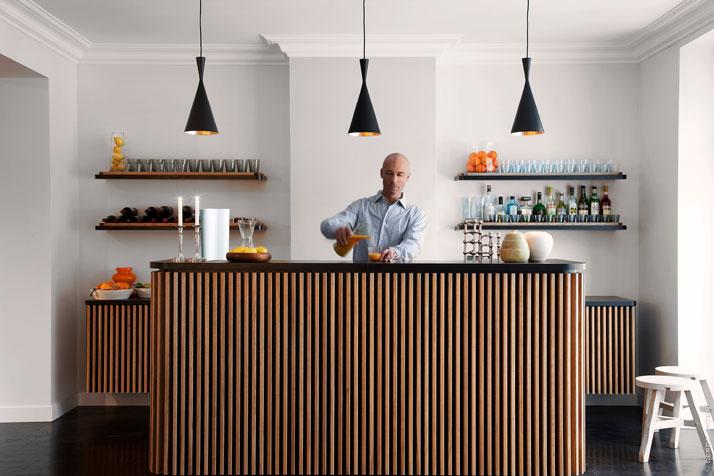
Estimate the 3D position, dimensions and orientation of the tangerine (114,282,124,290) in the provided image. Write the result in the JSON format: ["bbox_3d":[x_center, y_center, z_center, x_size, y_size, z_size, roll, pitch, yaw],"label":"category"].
[{"bbox_3d":[-2.722,0.550,8.492,0.115,0.063,0.091,-8,13,-15],"label":"tangerine"}]

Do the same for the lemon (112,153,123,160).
[{"bbox_3d":[-2.802,-0.963,8.670,0.125,0.065,0.081,-11,14,-27],"label":"lemon"}]

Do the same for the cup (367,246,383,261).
[{"bbox_3d":[0.154,0.144,6.951,0.107,0.102,0.126,-1,-7,4],"label":"cup"}]

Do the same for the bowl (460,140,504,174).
[{"bbox_3d":[1.454,-0.928,8.670,0.339,0.389,0.342,1,-2,0],"label":"bowl"}]

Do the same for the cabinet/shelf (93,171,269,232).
[{"bbox_3d":[-2.116,-0.415,8.688,1.937,0.875,0.570,-4,12,6],"label":"cabinet/shelf"}]

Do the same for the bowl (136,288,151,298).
[{"bbox_3d":[-2.469,0.636,8.541,0.147,0.073,0.155,0,-4,0],"label":"bowl"}]

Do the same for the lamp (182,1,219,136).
[{"bbox_3d":[-1.722,-1.770,7.864,0.325,1.440,1.248,-7,12,-12],"label":"lamp"}]

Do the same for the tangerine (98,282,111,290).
[{"bbox_3d":[-2.869,0.539,8.454,0.089,0.066,0.111,6,5,24],"label":"tangerine"}]

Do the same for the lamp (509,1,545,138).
[{"bbox_3d":[1.759,-1.755,7.801,0.290,1.452,1.283,-1,12,13],"label":"lamp"}]

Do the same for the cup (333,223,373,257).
[{"bbox_3d":[-0.025,0.020,7.041,0.391,0.235,0.394,-37,-5,-4],"label":"cup"}]

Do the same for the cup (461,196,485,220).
[{"bbox_3d":[1.345,-0.347,8.637,0.290,0.306,0.127,0,2,18],"label":"cup"}]

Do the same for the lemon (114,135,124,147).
[{"bbox_3d":[-2.793,-1.131,8.692,0.118,0.130,0.234,-8,13,-18],"label":"lemon"}]

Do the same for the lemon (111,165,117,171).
[{"bbox_3d":[-2.831,-0.809,8.630,0.050,0.051,0.052,-4,3,-25],"label":"lemon"}]

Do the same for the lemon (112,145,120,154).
[{"bbox_3d":[-2.811,-1.033,8.637,0.073,0.078,0.079,-1,-2,-1],"label":"lemon"}]
